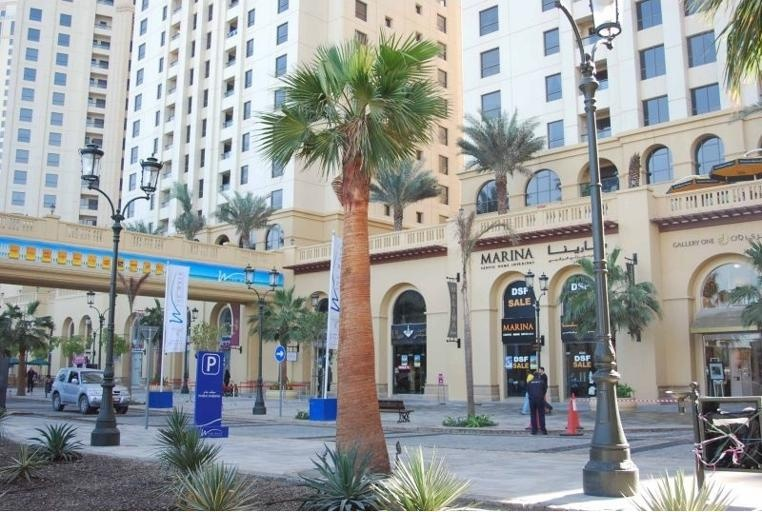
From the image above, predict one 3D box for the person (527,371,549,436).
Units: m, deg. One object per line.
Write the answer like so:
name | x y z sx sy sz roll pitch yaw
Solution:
person | 6.963 6.444 36.502 0.758 2.831 1.012 -3 -12 11
